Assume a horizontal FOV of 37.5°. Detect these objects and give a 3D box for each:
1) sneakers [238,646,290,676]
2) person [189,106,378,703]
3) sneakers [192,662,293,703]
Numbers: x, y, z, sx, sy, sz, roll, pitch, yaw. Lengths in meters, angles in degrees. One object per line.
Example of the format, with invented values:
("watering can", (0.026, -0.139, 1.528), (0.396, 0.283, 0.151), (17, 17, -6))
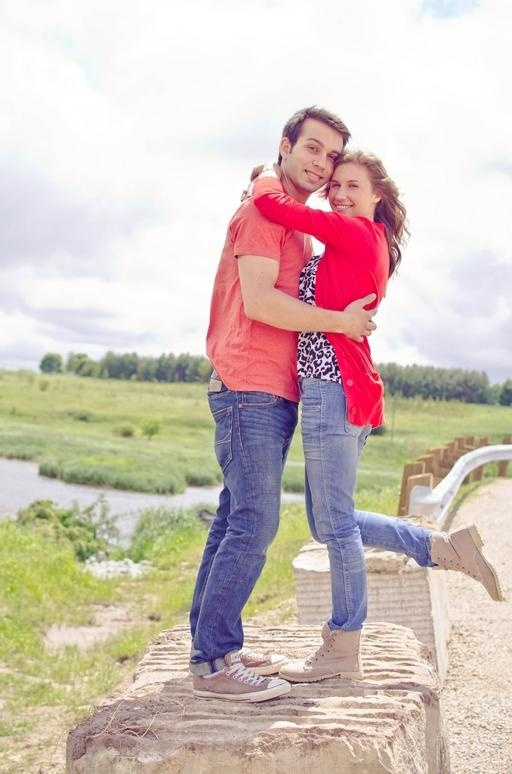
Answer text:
("sneakers", (0.022, 0.971, 2.671), (0.226, 0.096, 0.082), (-1, 7, -6))
("person", (0.068, 0.017, 2.651), (0.567, 1.608, 0.390), (1, 0, -6))
("sneakers", (-0.041, 0.984, 2.558), (0.332, 0.130, 0.122), (-1, 1, 5))
